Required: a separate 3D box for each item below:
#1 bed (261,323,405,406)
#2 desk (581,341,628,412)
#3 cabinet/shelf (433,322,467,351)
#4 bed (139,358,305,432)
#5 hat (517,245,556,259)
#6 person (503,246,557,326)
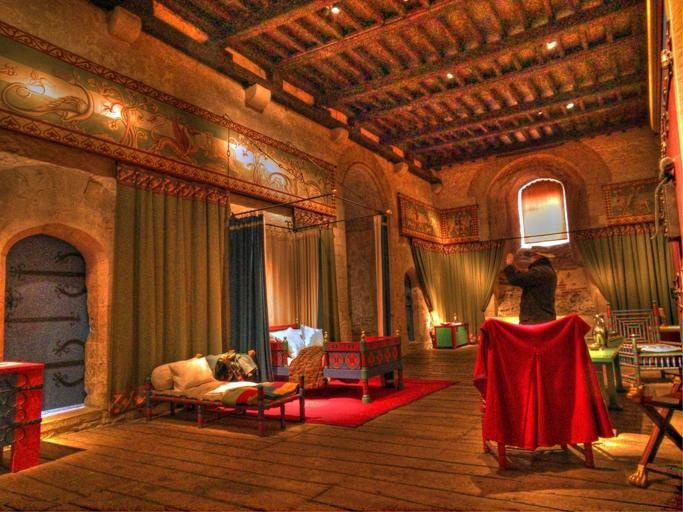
[{"bbox_3d":[-0.078,1.780,7.923,1.746,0.908,1.230,-6,-8,29],"label":"bed"},{"bbox_3d":[3.074,1.396,5.417,0.494,0.544,1.191,-5,-5,27],"label":"desk"},{"bbox_3d":[3.379,2.323,13.738,1.153,0.756,0.632,-3,2,-22],"label":"cabinet/shelf"},{"bbox_3d":[-1.565,1.759,6.254,1.641,0.689,0.992,-4,-7,23],"label":"bed"},{"bbox_3d":[4.190,-0.092,9.909,0.700,0.197,0.459,-2,-6,36],"label":"hat"},{"bbox_3d":[2.324,0.363,5.705,0.577,0.894,0.440,-2,2,19],"label":"person"}]
